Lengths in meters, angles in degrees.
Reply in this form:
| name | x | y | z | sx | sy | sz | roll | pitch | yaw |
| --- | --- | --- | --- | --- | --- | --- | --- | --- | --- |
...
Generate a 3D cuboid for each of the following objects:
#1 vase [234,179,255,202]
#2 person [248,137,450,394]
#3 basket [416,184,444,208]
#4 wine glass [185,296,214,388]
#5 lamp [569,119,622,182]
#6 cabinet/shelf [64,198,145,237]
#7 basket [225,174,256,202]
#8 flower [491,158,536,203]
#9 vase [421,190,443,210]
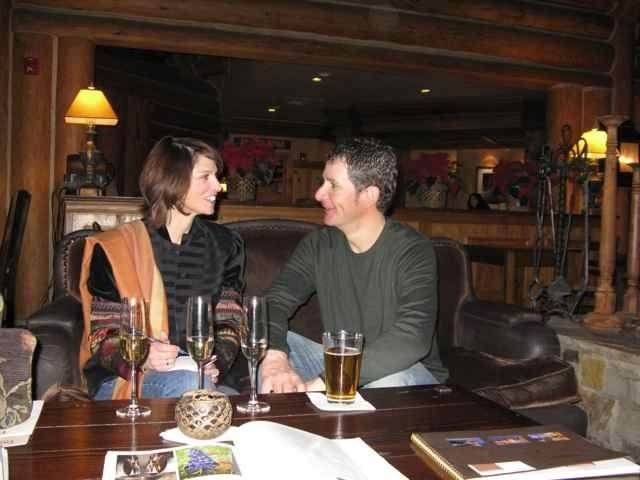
| name | x | y | z | sx | sy | sz | roll | pitch | yaw |
| --- | --- | --- | --- | --- | --- | --- | --- | --- | --- |
| vase | -0.577 | -0.369 | 4.270 | 0.177 | 0.181 | 0.170 | 2 | -1 | -7 |
| person | 0.133 | 0.111 | 2.324 | 0.830 | 1.065 | 0.914 | -2 | 11 | -18 |
| basket | 1.132 | -0.446 | 5.532 | 0.317 | 0.284 | 0.309 | 1 | -4 | 4 |
| wine glass | -0.350 | 0.309 | 1.663 | 0.078 | 0.290 | 0.106 | 6 | 12 | 22 |
| lamp | 2.276 | -0.742 | 4.574 | 0.389 | 0.418 | 0.374 | 7 | -2 | -14 |
| cabinet/shelf | -1.290 | -0.137 | 3.255 | 0.311 | 0.270 | 0.180 | 0 | -1 | -13 |
| basket | -0.607 | -0.391 | 4.272 | 0.213 | 0.150 | 0.211 | 3 | 1 | 18 |
| flower | 1.965 | -0.596 | 5.593 | 0.404 | 0.380 | 0.801 | 4 | 10 | 16 |
| vase | 1.177 | -0.442 | 5.793 | 0.252 | 0.217 | 0.311 | 0 | -8 | 11 |
